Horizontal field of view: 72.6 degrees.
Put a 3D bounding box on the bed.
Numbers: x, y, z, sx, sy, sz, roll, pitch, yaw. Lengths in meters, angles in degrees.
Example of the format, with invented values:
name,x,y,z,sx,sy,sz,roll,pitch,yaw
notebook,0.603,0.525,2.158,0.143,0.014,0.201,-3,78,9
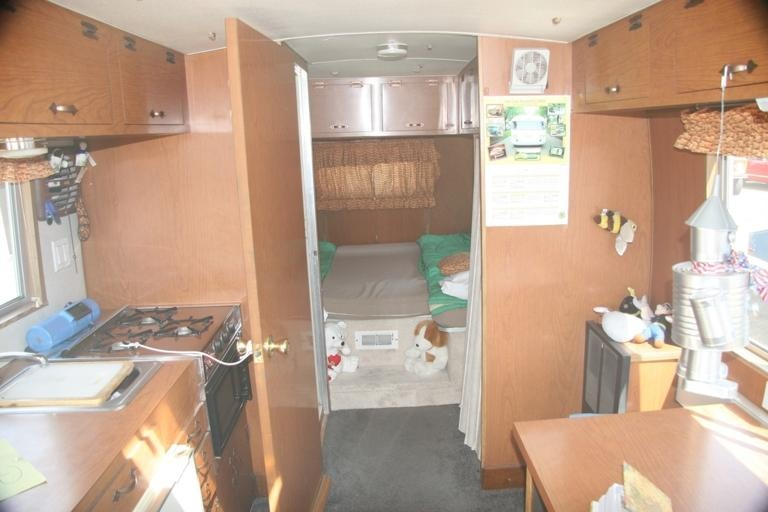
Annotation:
name,x,y,z,sx,sy,sz,roll,pitch,yaw
bed,0.021,0.482,4.769,1.039,0.256,1.107,-4,28,-5

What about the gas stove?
name,x,y,z,sx,sy,sz,roll,pitch,yaw
gas stove,-1.386,0.554,2.950,0.617,0.196,0.607,-11,-20,11

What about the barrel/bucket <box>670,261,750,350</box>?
name,x,y,z,sx,sy,sz,roll,pitch,yaw
barrel/bucket,1.213,0.188,1.965,0.258,0.272,0.255,-2,4,0

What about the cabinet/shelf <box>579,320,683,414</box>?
name,x,y,z,sx,sy,sz,roll,pitch,yaw
cabinet/shelf,1.426,0.726,3.068,0.362,0.592,0.489,-2,11,-1

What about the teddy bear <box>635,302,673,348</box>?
name,x,y,z,sx,sy,sz,roll,pitch,yaw
teddy bear,1.530,0.397,2.963,0.111,0.193,0.245,11,44,28

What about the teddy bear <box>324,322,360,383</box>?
name,x,y,z,sx,sy,sz,roll,pitch,yaw
teddy bear,-0.395,0.806,4.387,0.334,0.397,0.266,-13,1,-6
